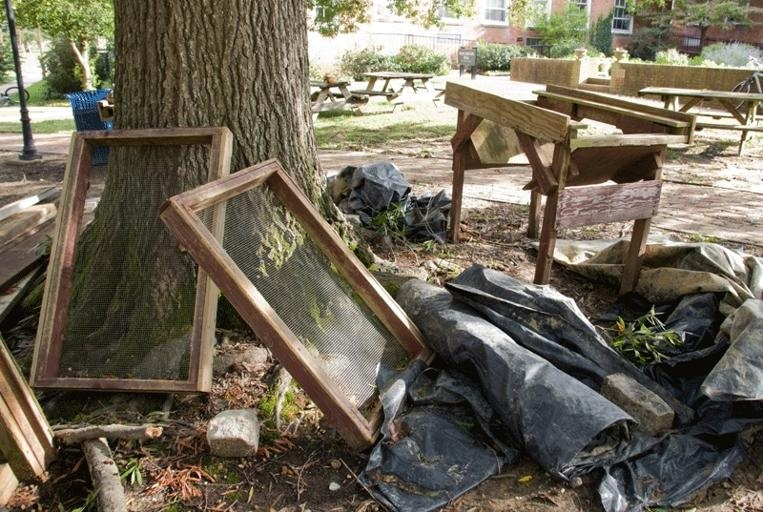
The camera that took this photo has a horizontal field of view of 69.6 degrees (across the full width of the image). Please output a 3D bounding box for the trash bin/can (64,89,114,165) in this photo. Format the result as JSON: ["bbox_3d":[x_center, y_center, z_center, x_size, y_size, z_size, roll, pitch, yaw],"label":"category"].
[{"bbox_3d":[-4.786,-2.176,9.215,0.651,1.158,3.002,-10,20,-26],"label":"trash bin/can"}]
